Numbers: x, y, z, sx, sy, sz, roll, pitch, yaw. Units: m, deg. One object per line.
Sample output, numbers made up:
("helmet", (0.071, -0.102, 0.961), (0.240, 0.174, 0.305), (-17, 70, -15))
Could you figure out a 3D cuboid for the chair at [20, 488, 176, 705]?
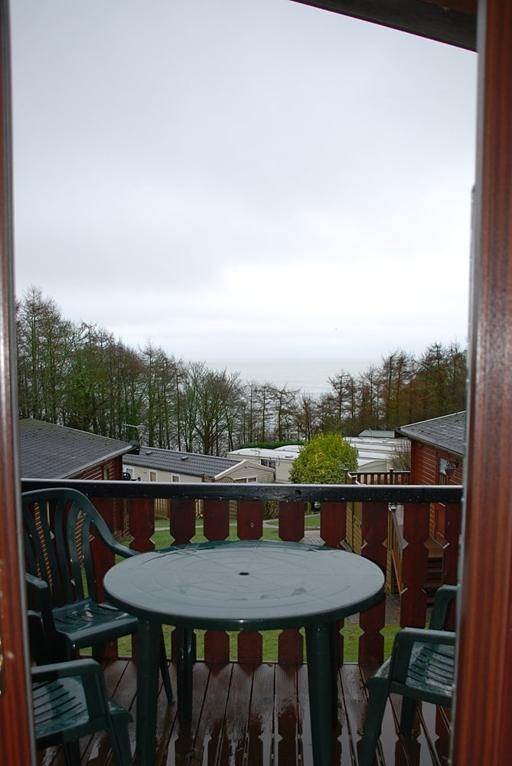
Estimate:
("chair", (-0.621, 0.787, 1.938), (0.544, 0.771, 0.595), (1, -6, -21))
